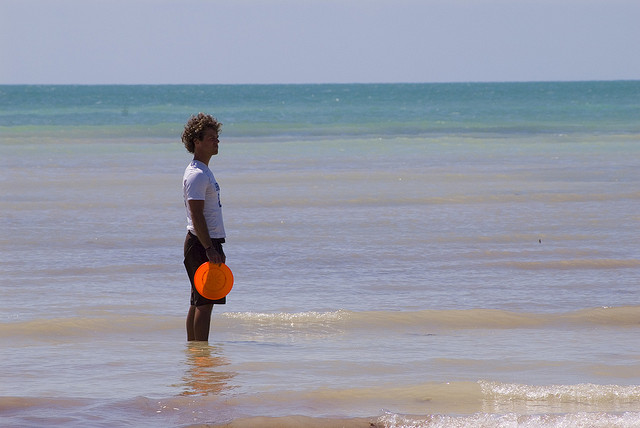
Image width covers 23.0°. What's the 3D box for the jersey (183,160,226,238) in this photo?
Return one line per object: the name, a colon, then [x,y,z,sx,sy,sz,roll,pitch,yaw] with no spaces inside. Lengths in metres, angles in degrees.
jersey: [-2.345,-0.308,32.142,0.587,1.587,0.839,-18,-26,26]
